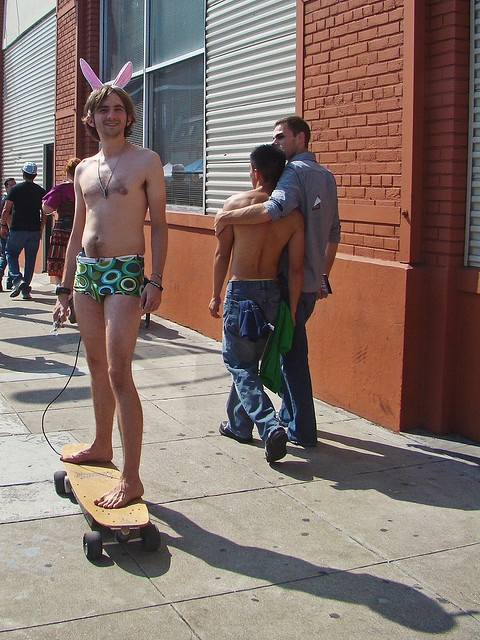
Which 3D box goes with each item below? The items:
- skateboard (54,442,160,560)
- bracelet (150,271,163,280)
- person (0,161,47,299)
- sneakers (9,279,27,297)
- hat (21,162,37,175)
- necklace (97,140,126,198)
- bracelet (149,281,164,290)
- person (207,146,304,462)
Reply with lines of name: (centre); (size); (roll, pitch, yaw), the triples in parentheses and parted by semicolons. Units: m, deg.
skateboard: (-0.642, 0.783, 2.642); (0.194, 0.142, 0.609); (-7, 23, -29)
bracelet: (-0.365, -0.194, 2.669); (0.044, 0.029, 0.076); (2, 5, -11)
person: (-3.722, -1.620, 10.429); (0.684, 2.043, 0.608); (1, 4, -19)
sneakers: (-3.837, -0.529, 10.452); (0.204, 0.245, 0.549); (-20, -5, -33)
hat: (-3.554, -2.559, 10.317); (0.193, 0.243, 0.412); (1, 5, -15)
necklace: (-0.591, -0.657, 2.730); (0.131, 0.230, 0.123); (3, 4, 2)
bracelet: (-0.367, -0.151, 2.639); (0.060, 0.045, 0.088); (2, 5, -9)
person: (0.106, -0.118, 3.720); (0.799, 1.890, 0.424); (6, 5, 45)
